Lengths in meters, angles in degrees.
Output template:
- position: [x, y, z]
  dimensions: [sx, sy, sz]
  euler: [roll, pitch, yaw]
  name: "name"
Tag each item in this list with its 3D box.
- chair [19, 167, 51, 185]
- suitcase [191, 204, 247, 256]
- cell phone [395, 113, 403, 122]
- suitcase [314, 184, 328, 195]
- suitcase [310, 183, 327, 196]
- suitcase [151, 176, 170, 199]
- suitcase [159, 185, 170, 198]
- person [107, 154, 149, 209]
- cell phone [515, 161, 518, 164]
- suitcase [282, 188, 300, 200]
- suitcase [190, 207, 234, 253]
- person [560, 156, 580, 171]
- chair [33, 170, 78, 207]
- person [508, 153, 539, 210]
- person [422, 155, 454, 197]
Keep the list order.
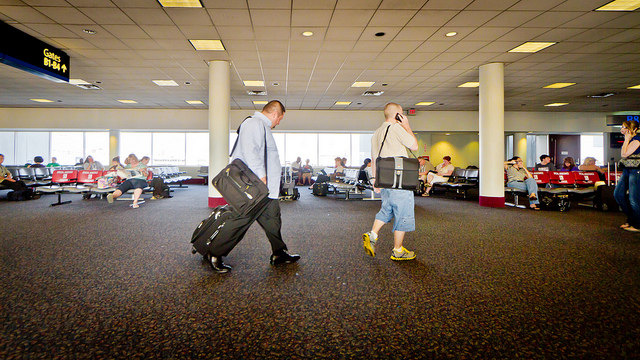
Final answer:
- position: [-10.044, -0.135, 12.581]
  dimensions: [0.974, 0.872, 0.672]
  euler: [2, 2, 7]
  name: "chair"
- position: [-1.788, 0.847, 5.889]
  dimensions: [0.713, 0.879, 0.477]
  euler: [-2, 12, -11]
  name: "suitcase"
- position: [1.313, -1.052, 6.081]
  dimensions: [0.105, 0.120, 0.068]
  euler: [-4, 8, 3]
  name: "cell phone"
- position: [-0.005, 0.336, 12.821]
  dimensions: [0.579, 0.309, 0.626]
  euler: [0, 6, -36]
  name: "suitcase"
- position: [-0.075, 0.343, 13.020]
  dimensions: [0.687, 0.366, 0.695]
  euler: [5, 1, -12]
  name: "suitcase"
- position: [-5.177, 0.255, 12.002]
  dimensions: [0.734, 0.690, 0.540]
  euler: [-2, -3, 39]
  name: "suitcase"
- position: [-5.228, 0.349, 12.072]
  dimensions: [0.171, 0.430, 0.666]
  euler: [-2, 11, -10]
  name: "suitcase"
- position: [-5.371, -0.027, 10.289]
  dimensions: [0.945, 0.814, 1.876]
  euler: [6, 25, -12]
  name: "person"
- position: [5.460, -0.488, 9.987]
  dimensions: [0.082, 0.068, 0.042]
  euler: [0, 16, 13]
  name: "cell phone"
- position: [-0.973, 0.441, 11.788]
  dimensions: [0.476, 0.409, 0.524]
  euler: [1, 11, 6]
  name: "suitcase"
- position: [-1.771, 0.780, 5.983]
  dimensions: [0.808, 0.559, 0.292]
  euler: [-39, 3, 1]
  name: "suitcase"
- position: [9.644, -0.655, 13.884]
  dimensions: [0.473, 0.585, 0.825]
  euler: [4, -2, -14]
  name: "person"
- position: [-8.159, 0.286, 11.081]
  dimensions: [1.190, 1.189, 1.388]
  euler: [0, -2, -3]
  name: "chair"
- position: [5.643, 0.059, 9.913]
  dimensions: [0.499, 1.308, 1.013]
  euler: [-4, 12, -18]
  name: "person"
- position: [4.350, -0.180, 13.153]
  dimensions: [1.094, 1.396, 0.821]
  euler: [0, 11, 2]
  name: "person"
